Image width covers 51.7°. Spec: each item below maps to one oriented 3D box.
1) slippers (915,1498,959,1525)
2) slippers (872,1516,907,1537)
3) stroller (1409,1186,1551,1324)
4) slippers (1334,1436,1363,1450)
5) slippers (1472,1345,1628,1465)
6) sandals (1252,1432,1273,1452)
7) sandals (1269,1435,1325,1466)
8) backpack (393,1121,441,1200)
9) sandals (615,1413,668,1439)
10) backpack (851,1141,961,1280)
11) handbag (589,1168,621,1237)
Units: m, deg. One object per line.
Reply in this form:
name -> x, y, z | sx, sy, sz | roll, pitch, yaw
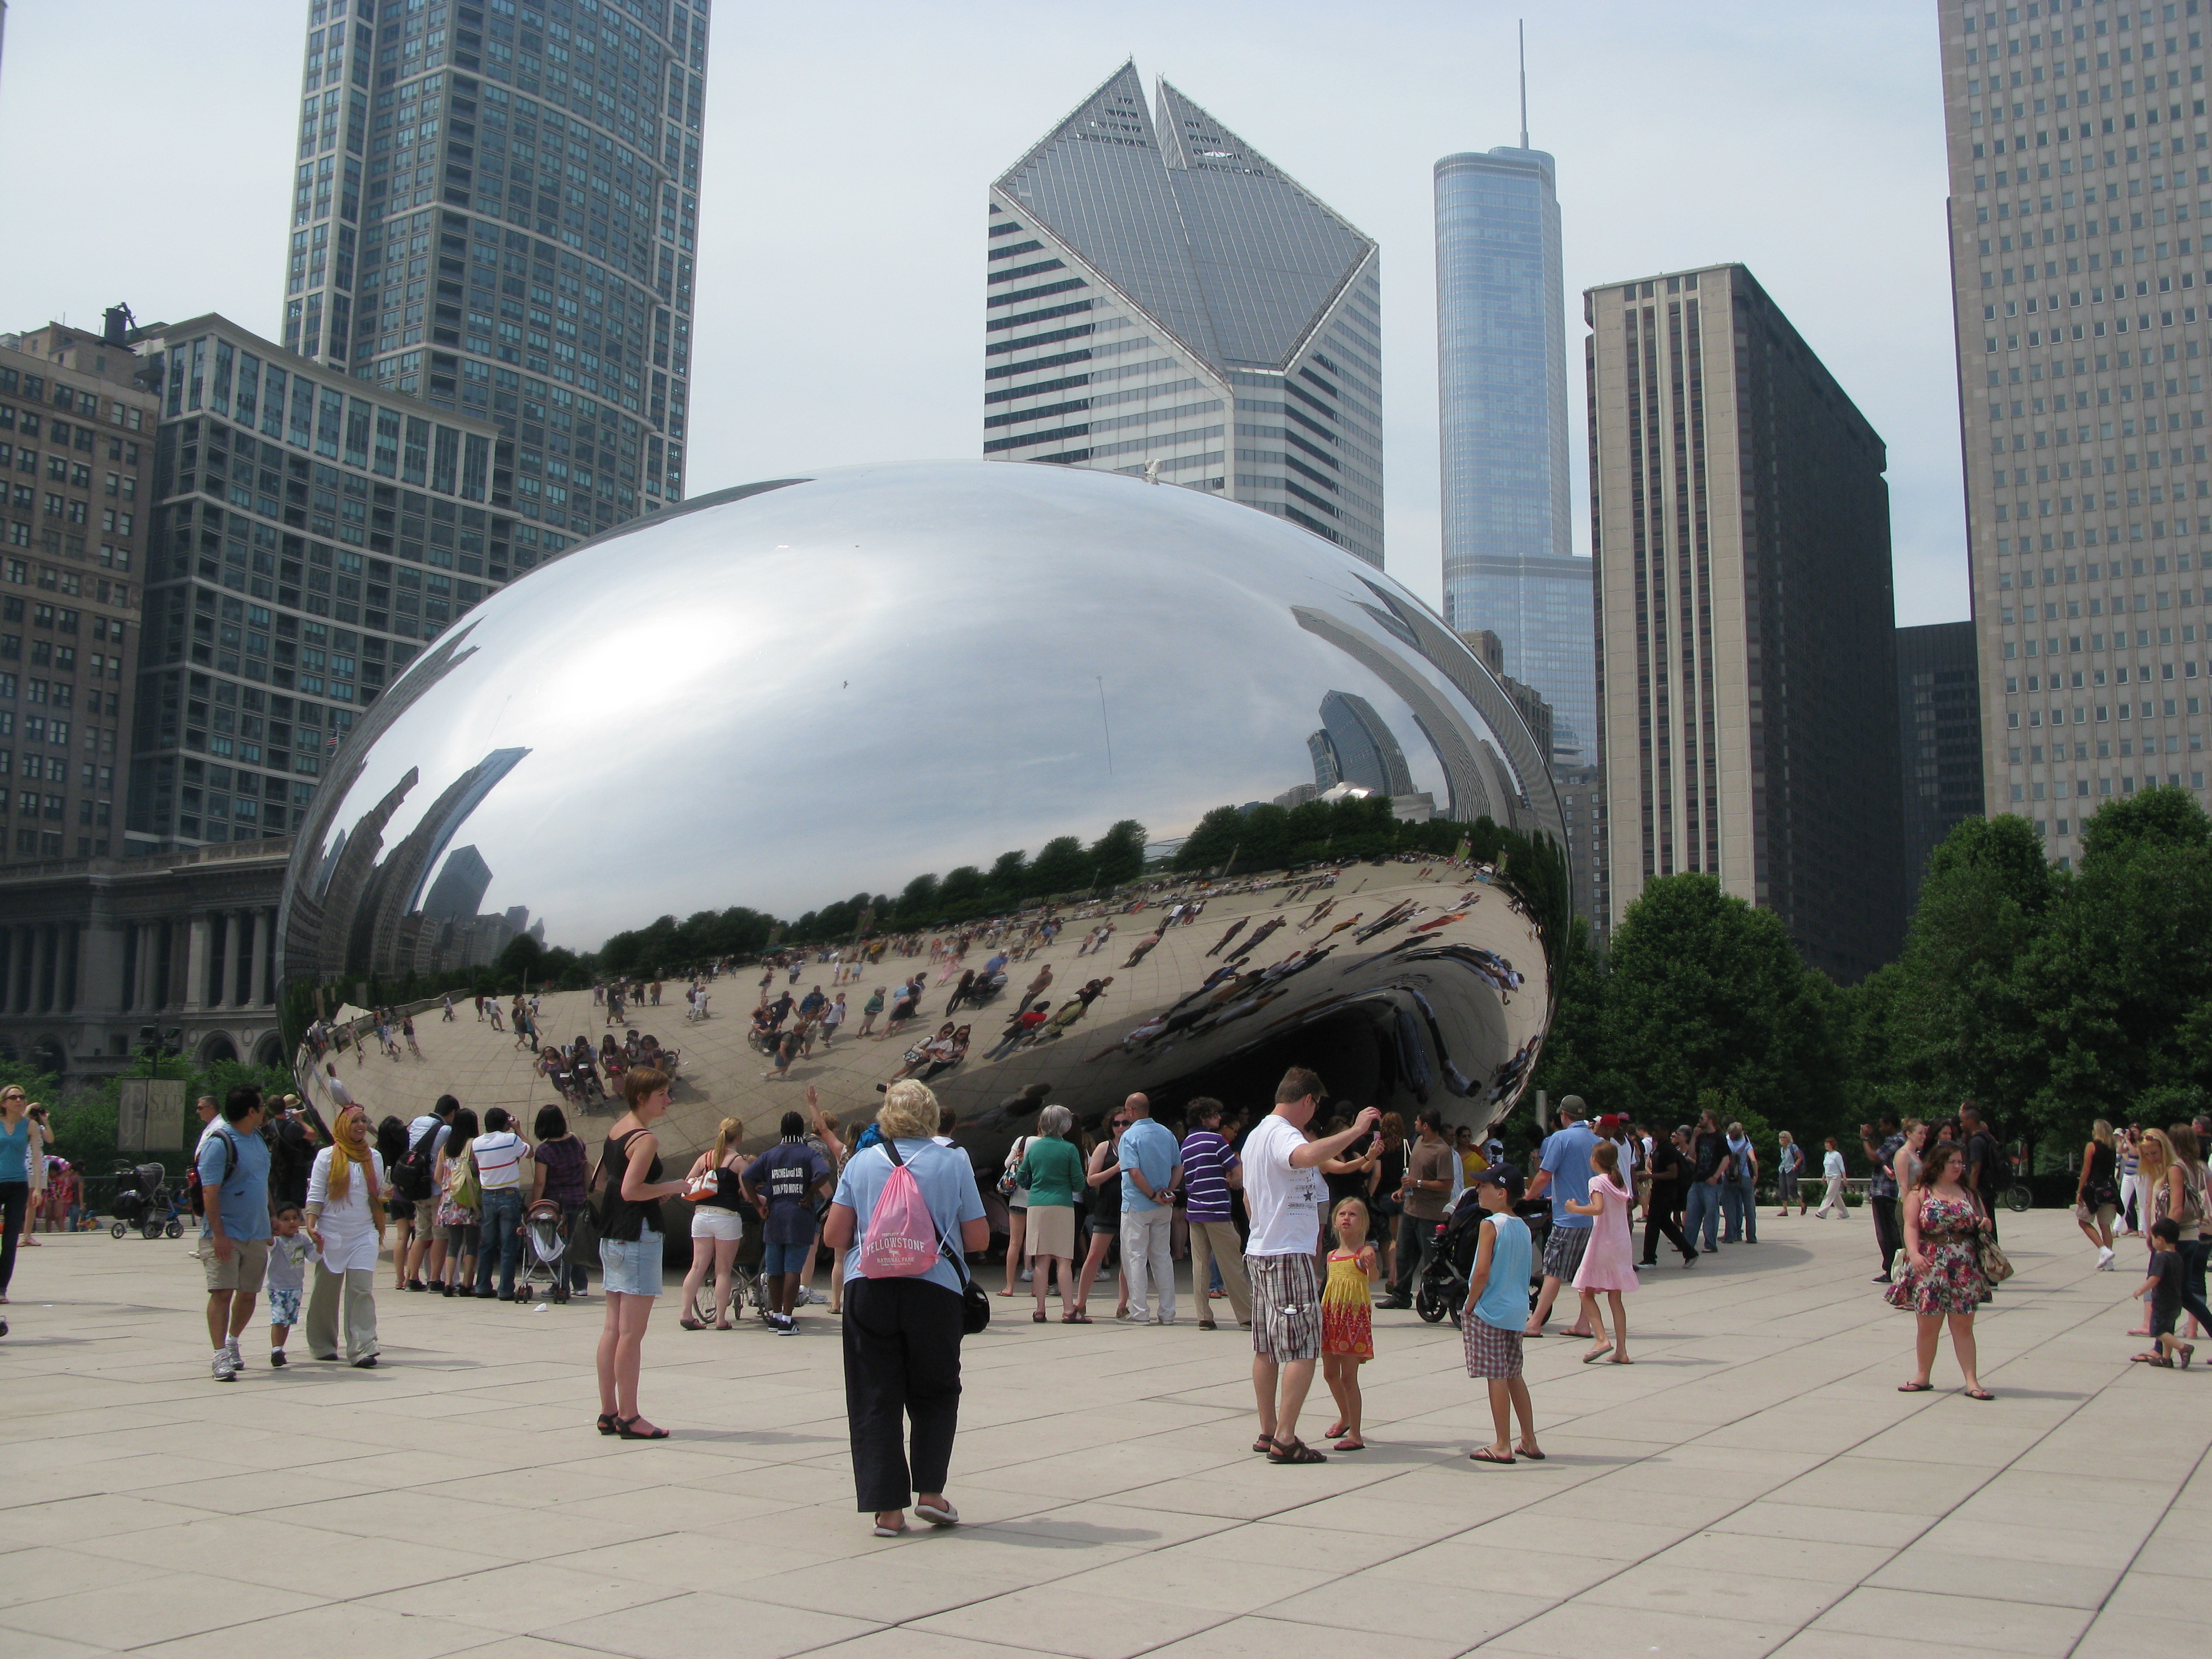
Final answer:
slippers -> -0.822, 3.351, 11.128 | 0.243, 0.110, 0.095 | 13, -44, -12
slippers -> -1.045, 3.361, 11.011 | 0.159, 0.113, 0.163 | 6, -8, -10
stroller -> 2.798, 3.409, 17.831 | 0.798, 1.691, 0.631 | -2, -6, 23
slippers -> 1.370, 3.462, 12.799 | 0.191, 0.116, 0.063 | 6, -24, -12
slippers -> 2.291, 3.278, 12.854 | 0.414, 0.540, 0.725 | 3, -8, 10
sandals -> 0.873, 3.419, 12.665 | 0.102, 0.073, 0.192 | -2, -18, 6
sandals -> 1.040, 3.413, 12.477 | 0.243, 0.101, 0.125 | -4, -5, 14
backpack -> -5.855, 2.849, 19.345 | 0.378, 0.698, 0.483 | 16, -20, -33
sandals -> -2.645, 3.383, 12.891 | 0.258, 0.098, 0.132 | 2, -3, -15
backpack -> -1.011, 1.882, 11.169 | 0.540, 0.645, 0.299 | 1, 5, 11
handbag -> -2.887, 2.161, 13.118 | 0.119, 0.377, 0.383 | 8, -9, -23
